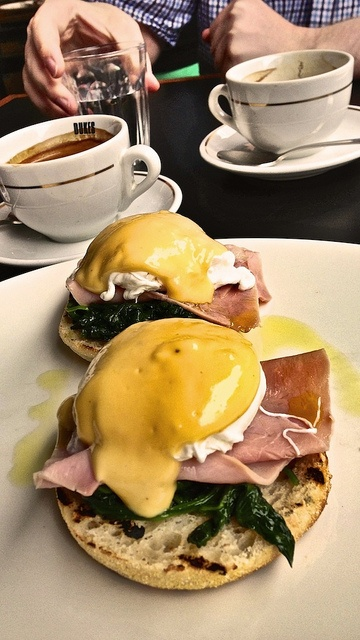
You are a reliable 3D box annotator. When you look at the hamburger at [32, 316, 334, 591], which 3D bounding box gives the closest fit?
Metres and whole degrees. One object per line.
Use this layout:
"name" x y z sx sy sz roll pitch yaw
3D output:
"hamburger" 0.008 0.400 1.463 0.634 0.335 0.628 16 52 22
